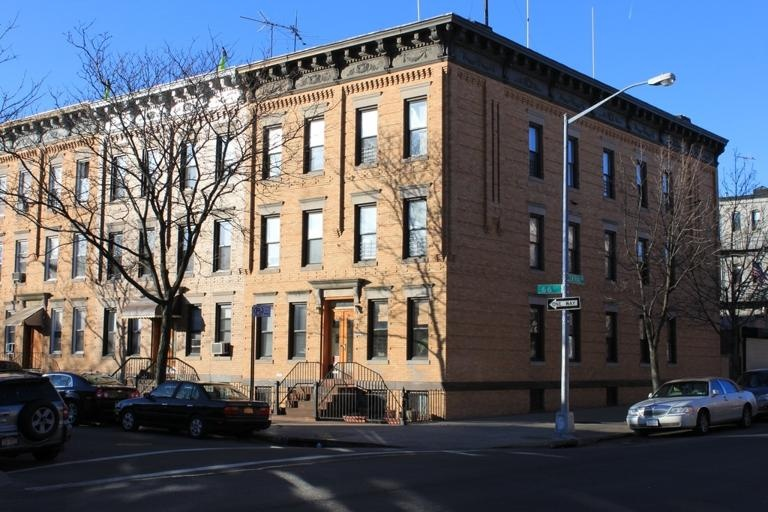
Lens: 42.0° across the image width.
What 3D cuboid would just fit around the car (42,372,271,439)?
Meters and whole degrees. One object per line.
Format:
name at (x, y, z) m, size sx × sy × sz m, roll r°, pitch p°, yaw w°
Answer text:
car at (-7.018, 5.559, 36.390) m, size 5.033 × 2.125 × 1.225 m, roll -7°, pitch -17°, yaw 24°

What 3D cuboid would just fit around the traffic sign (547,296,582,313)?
traffic sign at (6.476, 1.633, 36.014) m, size 0.665 × 0.557 × 1.051 m, roll 8°, pitch -17°, yaw -28°

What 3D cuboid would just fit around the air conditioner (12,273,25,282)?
air conditioner at (-19.555, 1.087, 53.640) m, size 0.611 × 0.471 × 0.394 m, roll -7°, pitch -17°, yaw 23°
